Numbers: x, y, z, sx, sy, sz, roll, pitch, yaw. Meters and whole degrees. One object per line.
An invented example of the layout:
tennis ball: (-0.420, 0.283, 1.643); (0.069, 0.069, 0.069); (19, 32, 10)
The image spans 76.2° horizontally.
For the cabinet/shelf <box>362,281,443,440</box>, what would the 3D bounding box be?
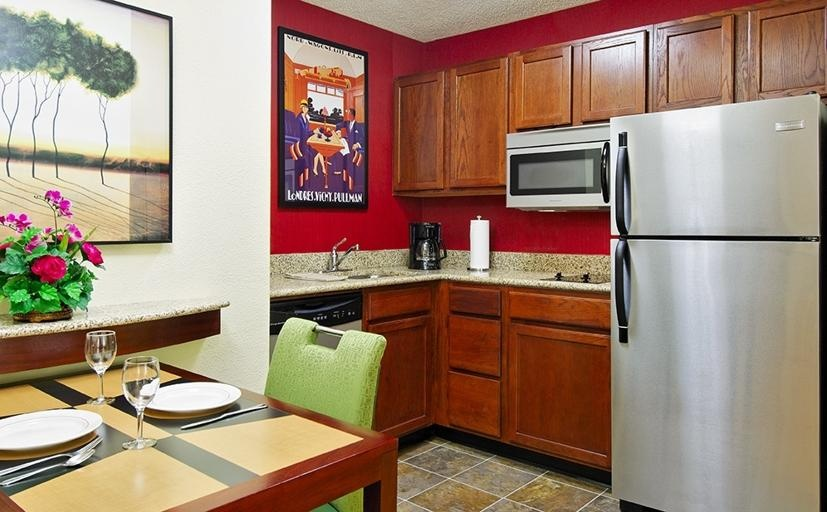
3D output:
cabinet/shelf: (-0.280, 0.687, 3.724); (0.800, 1.048, 0.749); (-1, 3, -11)

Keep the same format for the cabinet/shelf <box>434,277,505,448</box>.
cabinet/shelf: (0.381, 0.691, 3.602); (0.606, 1.007, 0.201); (10, 17, 33)

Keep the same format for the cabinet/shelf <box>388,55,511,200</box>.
cabinet/shelf: (0.370, -0.942, 4.106); (1.122, 0.969, 0.348); (5, 7, 41)

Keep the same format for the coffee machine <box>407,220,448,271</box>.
coffee machine: (0.086, -0.098, 4.186); (0.327, 0.417, 0.434); (2, -7, -15)

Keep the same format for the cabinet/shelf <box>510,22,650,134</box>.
cabinet/shelf: (1.224, -1.167, 3.602); (0.987, 0.558, 0.499); (7, 14, 43)

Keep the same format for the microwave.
microwave: (1.093, -0.576, 3.623); (0.808, 0.536, 0.519); (5, 8, 41)

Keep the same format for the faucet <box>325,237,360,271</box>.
faucet: (-0.521, -0.021, 3.933); (0.263, 0.245, 0.214); (-16, 38, -27)

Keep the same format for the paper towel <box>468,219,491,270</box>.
paper towel: (0.497, -0.082, 3.976); (0.125, 0.372, 0.101); (1, 14, 1)

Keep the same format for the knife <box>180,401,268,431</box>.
knife: (-0.646, 0.544, 1.782); (0.042, 0.021, 0.295); (0, 3, 42)
